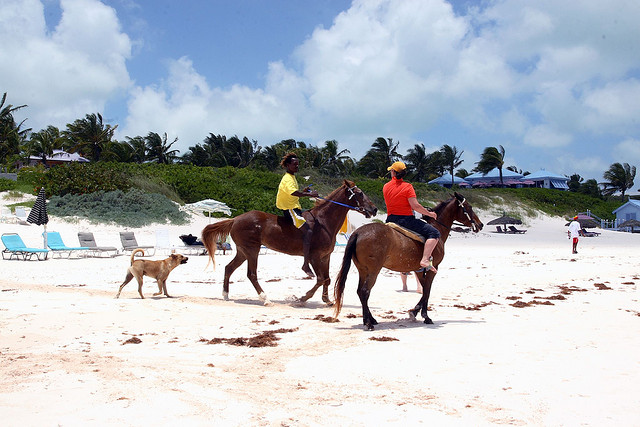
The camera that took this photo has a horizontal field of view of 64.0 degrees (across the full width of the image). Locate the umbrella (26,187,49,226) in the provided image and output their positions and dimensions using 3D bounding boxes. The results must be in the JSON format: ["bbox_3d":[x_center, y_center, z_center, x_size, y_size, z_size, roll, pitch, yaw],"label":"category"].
[{"bbox_3d":[-12.612,-0.311,23.012,0.621,1.589,2.924,-1,3,-29],"label":"umbrella"}]

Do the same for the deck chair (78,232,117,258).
[{"bbox_3d":[-9.811,1.393,22.458,1.639,1.048,0.917,1,-2,29],"label":"deck chair"}]

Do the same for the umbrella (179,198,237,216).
[{"bbox_3d":[-5.846,-0.363,26.883,1.683,0.611,1.660,2,-2,2],"label":"umbrella"}]

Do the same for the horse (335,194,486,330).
[{"bbox_3d":[1.512,0.921,11.413,3.476,2.707,3.216,-2,3,-42],"label":"horse"}]

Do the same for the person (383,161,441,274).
[{"bbox_3d":[1.857,-0.011,10.609,1.171,2.146,0.708,1,2,20],"label":"person"}]

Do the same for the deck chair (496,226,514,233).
[{"bbox_3d":[16.425,1.422,46.754,1.400,0.488,1.819,0,3,-8],"label":"deck chair"}]

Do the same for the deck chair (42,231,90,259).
[{"bbox_3d":[-11.072,1.384,22.302,1.970,1.131,0.939,0,0,24],"label":"deck chair"}]

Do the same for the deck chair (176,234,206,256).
[{"bbox_3d":[-6.563,1.598,25.647,2.068,1.264,1.157,-2,-3,25],"label":"deck chair"}]

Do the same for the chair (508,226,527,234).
[{"bbox_3d":[18.719,1.595,48.601,1.264,0.635,0.861,-1,0,17],"label":"chair"}]

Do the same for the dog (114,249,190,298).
[{"bbox_3d":[-4.024,1.438,12.312,1.460,1.235,0.689,-1,2,-25],"label":"dog"}]

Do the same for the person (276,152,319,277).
[{"bbox_3d":[-0.581,0.015,12.202,0.837,2.993,1.146,0,2,-21],"label":"person"}]

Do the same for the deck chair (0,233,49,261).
[{"bbox_3d":[-11.981,1.348,20.642,1.999,0.972,1.122,0,-1,37],"label":"deck chair"}]

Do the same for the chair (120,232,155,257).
[{"bbox_3d":[-8.648,1.469,24.245,1.983,1.277,1.254,5,3,24],"label":"chair"}]

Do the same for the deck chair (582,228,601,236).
[{"bbox_3d":[24.044,1.683,45.497,1.317,0.438,0.817,-1,-1,28],"label":"deck chair"}]
